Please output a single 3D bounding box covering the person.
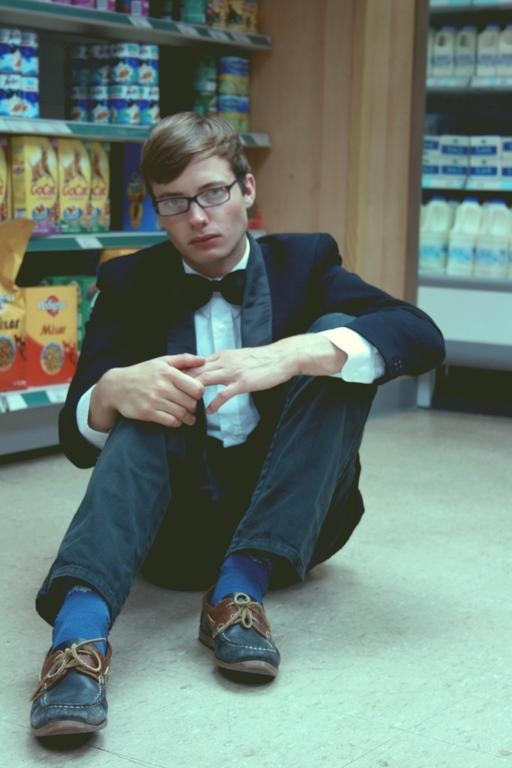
[{"bbox_3d":[-0.110,-0.024,1.150,0.768,0.899,0.520,-1,1,-43],"label":"person"}]

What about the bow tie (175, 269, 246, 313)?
[{"bbox_3d":[-0.074,-0.167,1.193,0.088,0.065,0.111,-14,22,-43],"label":"bow tie"}]
